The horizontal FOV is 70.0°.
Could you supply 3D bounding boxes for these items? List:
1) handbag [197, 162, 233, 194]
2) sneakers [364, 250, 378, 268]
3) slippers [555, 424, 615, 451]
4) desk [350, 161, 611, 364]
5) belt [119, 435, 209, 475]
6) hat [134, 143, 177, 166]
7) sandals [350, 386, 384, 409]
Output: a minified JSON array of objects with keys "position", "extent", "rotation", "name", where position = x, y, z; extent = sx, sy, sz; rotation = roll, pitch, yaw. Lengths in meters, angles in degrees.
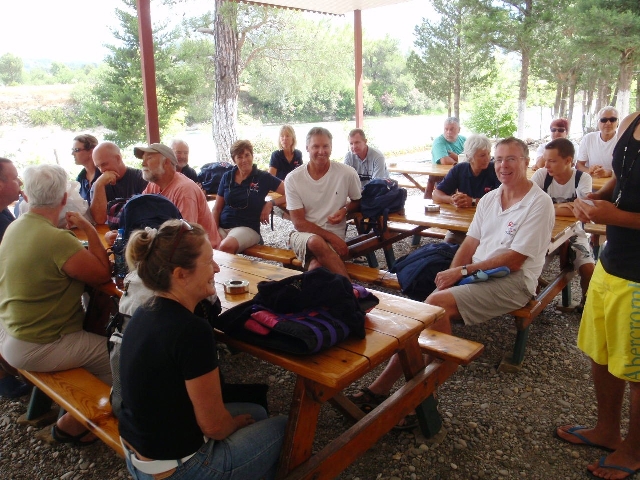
[{"position":[-1.639,-0.956,6.992],"extent":[0.510,0.221,0.631],"rotation":[1,16,1],"name":"handbag"},{"position":[0.551,0.212,4.970],"extent":[0.054,0.079,0.271],"rotation":[29,-16,26],"name":"sneakers"},{"position":[1.569,1.168,2.725],"extent":[0.219,0.049,0.109],"rotation":[8,18,38],"name":"slippers"},{"position":[1.473,0.260,3.959],"extent":[1.948,0.877,1.816],"rotation":[7,14,38],"name":"desk"},{"position":[-0.724,0.940,1.960],"extent":[0.196,0.045,0.196],"rotation":[3,15,0],"name":"belt"},{"position":[-1.484,-0.819,4.186],"extent":[0.220,0.152,0.335],"rotation":[6,-7,37],"name":"hat"},{"position":[0.300,1.013,2.932],"extent":[0.266,0.087,0.090],"rotation":[1,16,-9],"name":"sandals"}]
